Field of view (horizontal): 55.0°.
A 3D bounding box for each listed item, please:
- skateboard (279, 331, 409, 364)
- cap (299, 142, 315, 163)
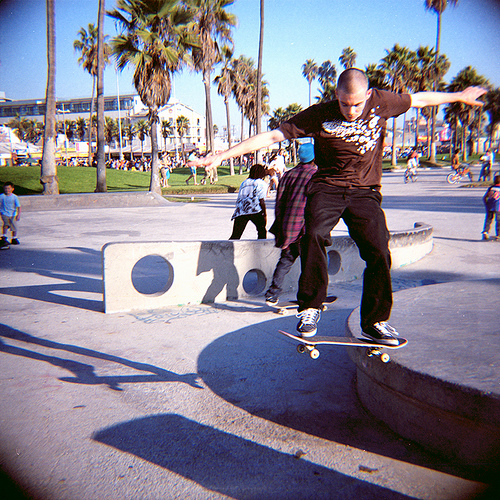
[{"bbox_3d":[0.462,0.564,2.870,0.939,0.183,0.271,3,6,-6],"label":"skateboard"},{"bbox_3d":[0.565,-0.965,4.763,0.141,0.189,0.215,1,12,6],"label":"cap"}]
